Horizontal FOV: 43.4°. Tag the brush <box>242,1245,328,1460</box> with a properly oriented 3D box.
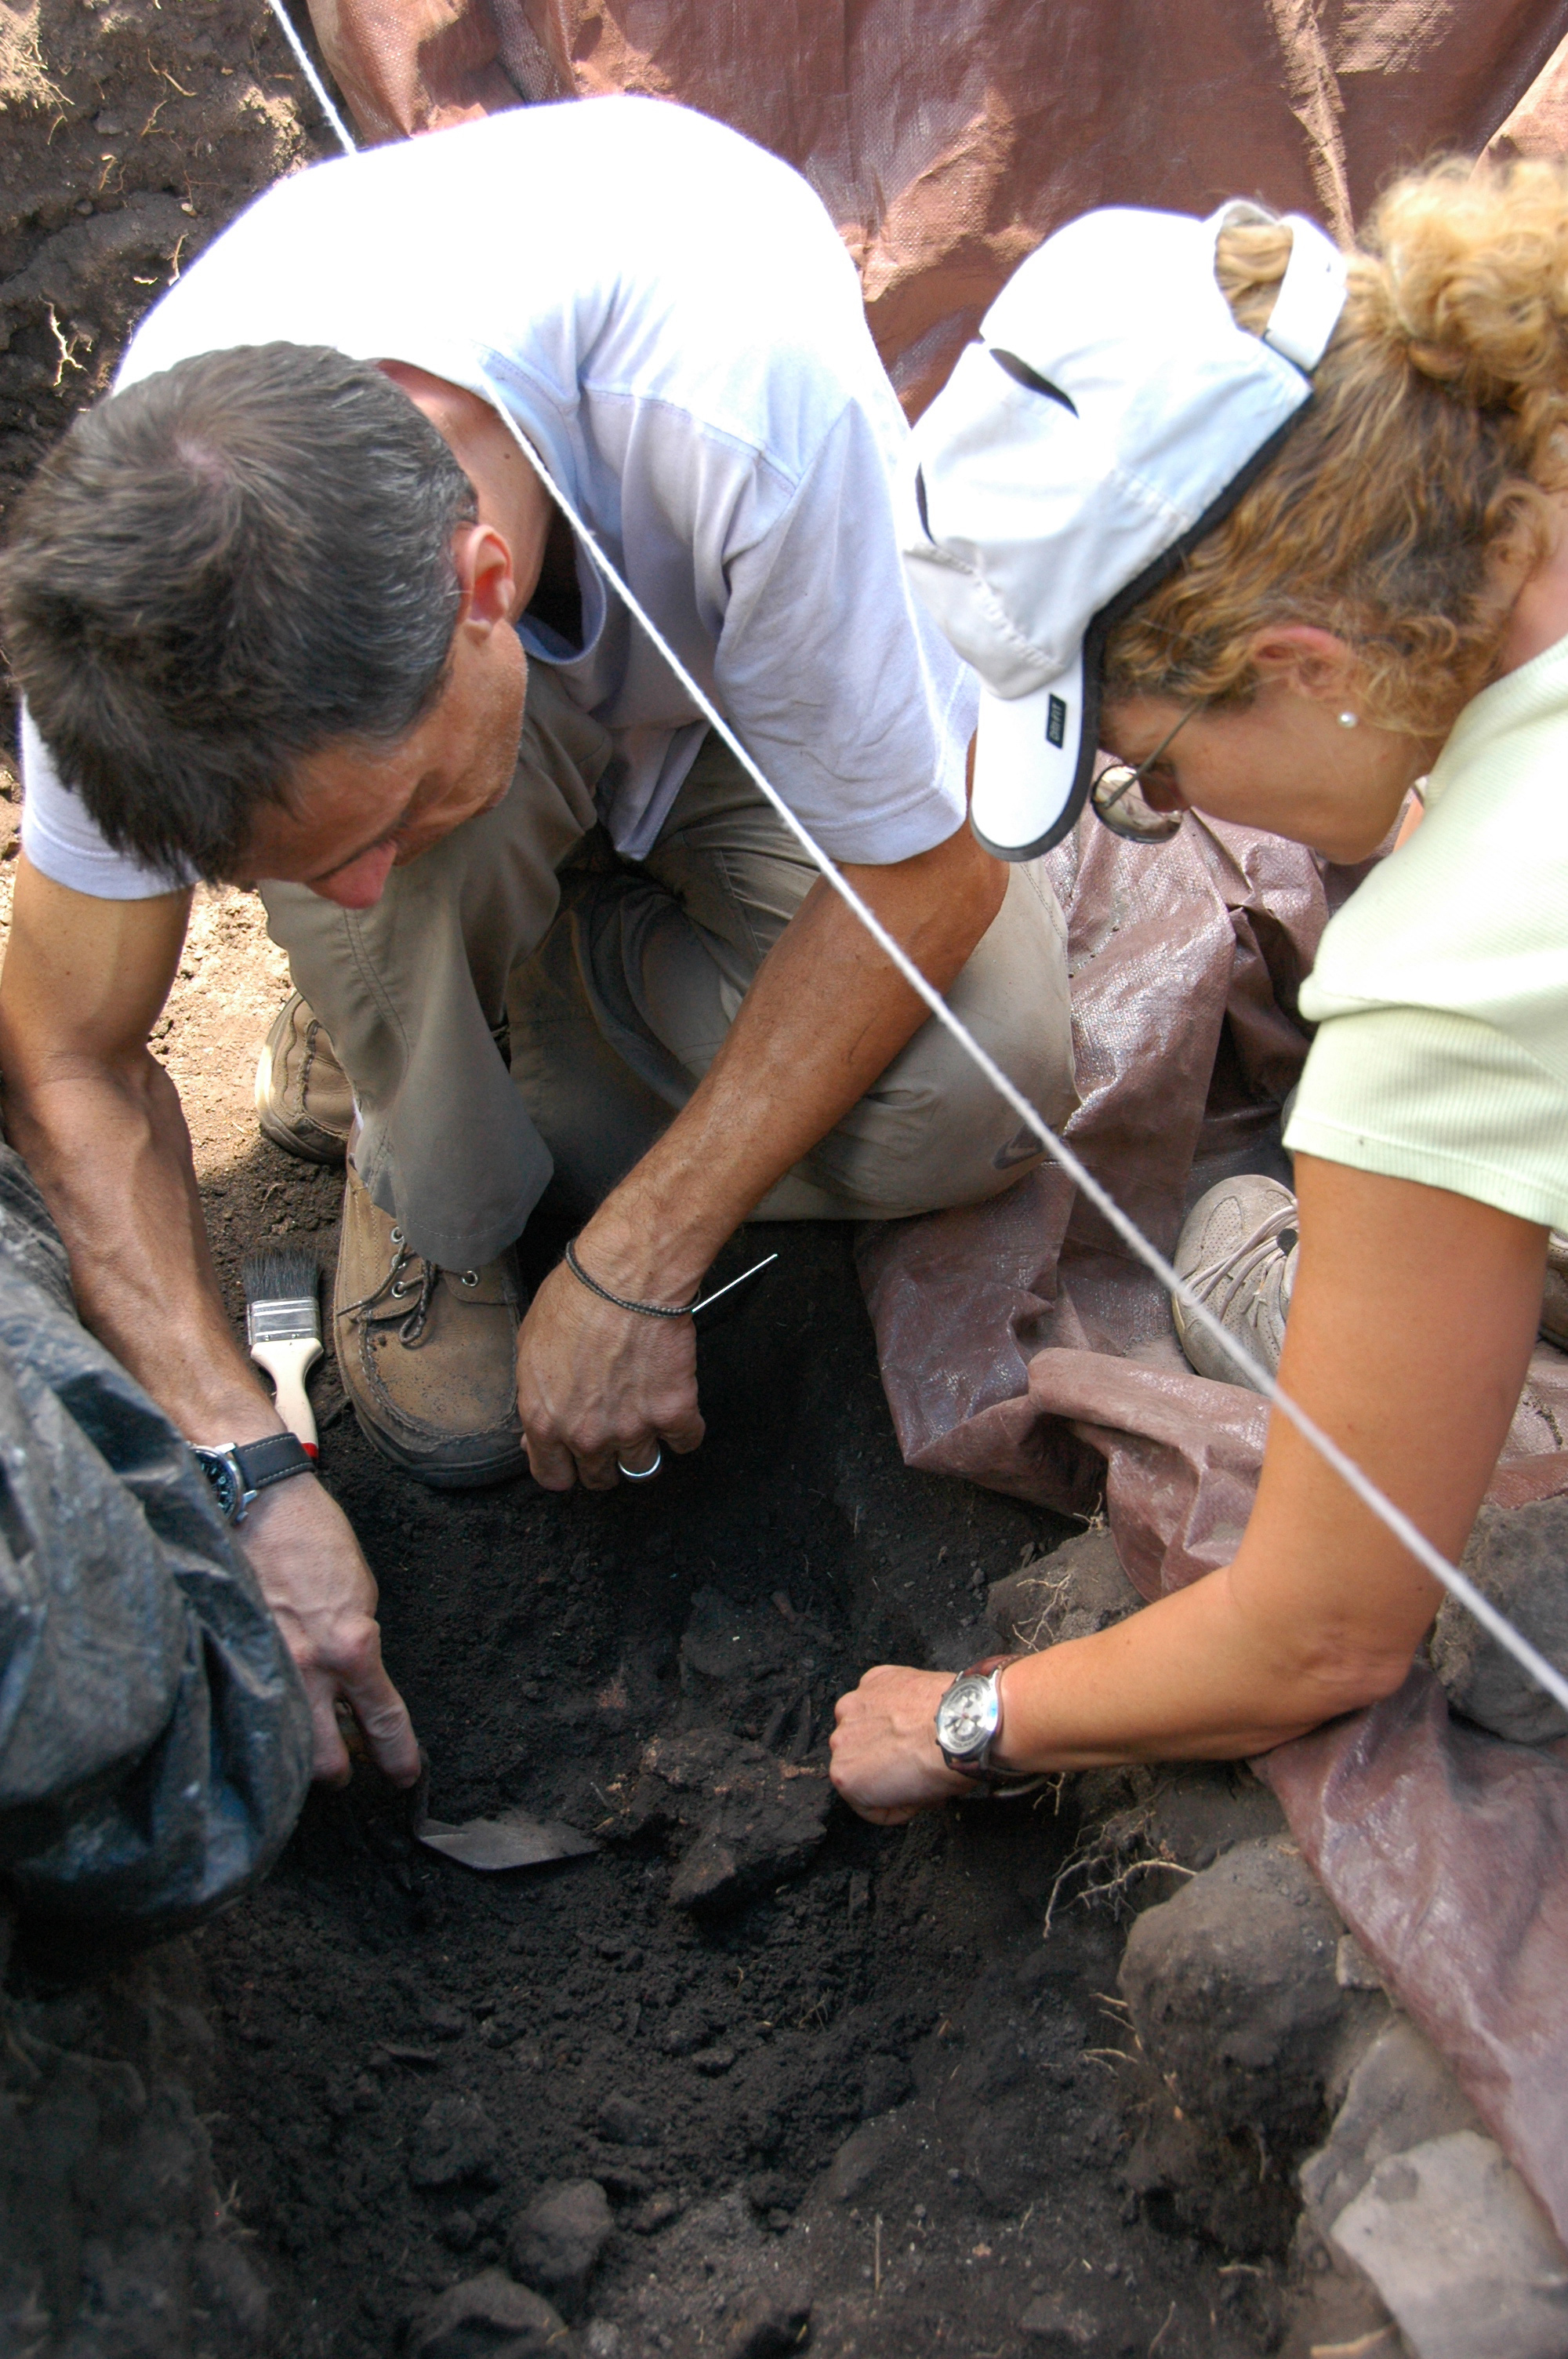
[{"bbox_3d":[-0.575,0.212,2.294,0.093,0.049,0.326,-4,48,-15],"label":"brush"}]

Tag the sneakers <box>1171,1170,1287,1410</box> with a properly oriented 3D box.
[{"bbox_3d":[0.533,0.112,2.268,0.184,0.094,0.253,-31,43,31],"label":"sneakers"}]

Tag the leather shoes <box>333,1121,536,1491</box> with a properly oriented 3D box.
[{"bbox_3d":[-0.425,0.131,2.318,0.177,0.205,0.440,-10,67,-12],"label":"leather shoes"}]
